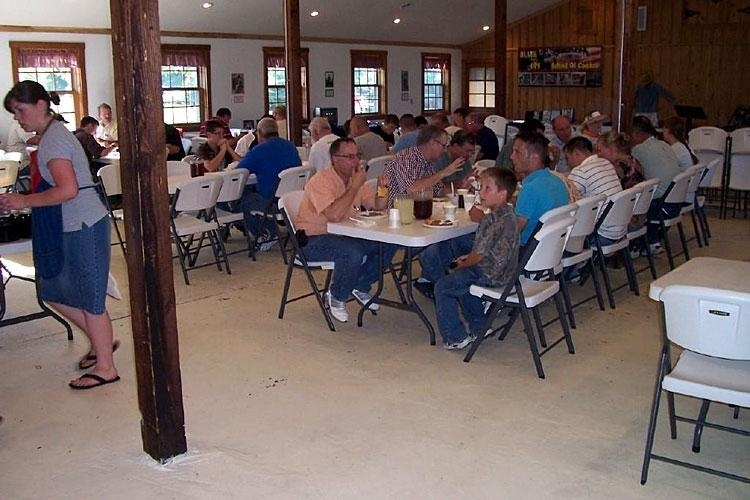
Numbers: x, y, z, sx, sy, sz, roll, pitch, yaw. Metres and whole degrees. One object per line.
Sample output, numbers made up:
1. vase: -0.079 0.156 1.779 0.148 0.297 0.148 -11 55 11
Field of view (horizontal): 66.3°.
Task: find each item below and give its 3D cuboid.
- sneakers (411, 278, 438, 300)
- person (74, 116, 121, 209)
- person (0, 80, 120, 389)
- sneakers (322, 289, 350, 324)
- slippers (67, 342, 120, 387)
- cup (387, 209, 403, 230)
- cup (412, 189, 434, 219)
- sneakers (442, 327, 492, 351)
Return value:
1. sneakers: 0.424 0.334 5.035 0.117 0.263 0.088 -46 0 -24
2. person: -3.721 -1.223 7.824 0.670 1.145 0.539 -7 12 -32
3. person: -1.985 -0.067 3.657 0.506 1.970 0.515 6 17 35
4. sneakers: -0.302 0.475 4.658 0.132 0.326 0.119 -31 -4 42
5. slippers: -1.845 0.789 3.908 0.187 0.096 0.409 10 16 23
6. cup: 0.141 -0.220 4.137 0.111 0.136 0.129 0 6 4
7. cup: 0.358 -0.352 4.349 0.163 0.233 0.148 -2 6 -9
8. sneakers: 0.694 0.621 4.202 0.405 0.177 0.148 -16 16 -43
